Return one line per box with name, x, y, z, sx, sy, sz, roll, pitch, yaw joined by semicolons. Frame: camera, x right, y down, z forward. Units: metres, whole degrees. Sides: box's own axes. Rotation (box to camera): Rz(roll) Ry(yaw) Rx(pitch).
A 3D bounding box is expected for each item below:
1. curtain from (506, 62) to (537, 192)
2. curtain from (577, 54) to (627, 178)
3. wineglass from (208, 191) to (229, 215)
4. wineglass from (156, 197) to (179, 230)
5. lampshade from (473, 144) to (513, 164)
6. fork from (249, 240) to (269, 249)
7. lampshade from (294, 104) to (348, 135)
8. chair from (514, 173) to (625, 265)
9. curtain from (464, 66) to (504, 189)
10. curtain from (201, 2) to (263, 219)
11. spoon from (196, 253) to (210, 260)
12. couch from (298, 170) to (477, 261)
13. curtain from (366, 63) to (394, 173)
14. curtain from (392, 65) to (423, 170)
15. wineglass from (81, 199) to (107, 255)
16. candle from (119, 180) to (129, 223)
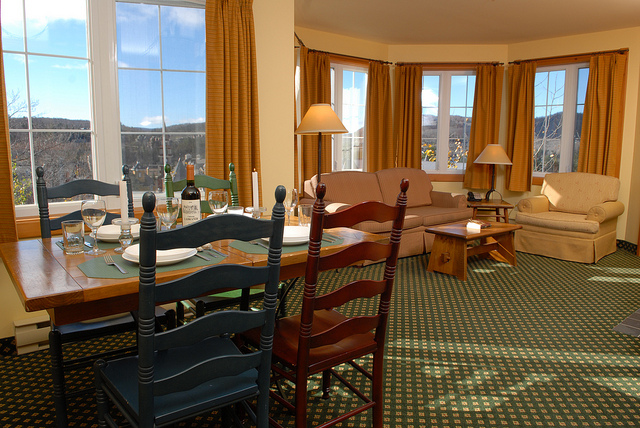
curtain;3.500;-1.501;7.840;0.444;2.154;0.472;3;13;22
curtain;4.403;-1.536;7.009;0.517;1.806;0.455;6;15;32
wineglass;-0.743;-0.086;3.301;0.129;0.175;0.171;-5;12;-12
wineglass;-1.029;-0.005;3.064;0.139;0.202;0.239;-6;12;-19
lampshade;2.899;-0.958;7.392;0.399;0.207;0.395;-5;12;-28
fork;-0.434;0.219;3.183;0.030;0.026;0.219;-24;27;-33
lampshade;0.013;-1.106;5.294;0.663;0.332;0.677;2;9;28
chair;3.649;0.016;6.605;1.183;1.118;1.206;9;16;42
curtain;3.026;-1.976;8.075;0.497;1.978;0.150;3;-26;15
curtain;-0.998;-1.191;5.052;0.705;2.250;0.410;-6;13;-17
spoon;-0.788;0.283;2.990;0.029;0.010;0.218;-10;17;-28
couch;0.161;0.065;2.982;0.740;0.356;0.396;-3;-25;44
curtain;1.048;-1.692;7.898;0.604;1.844;0.305;-8;14;-27
curtain;1.579;-1.739;8.114;0.483;1.791;0.339;-1;12;6
wineglass;-1.574;0.073;3.139;0.151;0.339;0.388;-8;13;-25
candle;-1.371;-0.083;3.129;0.062;0.271;0.263;-8;13;-24
